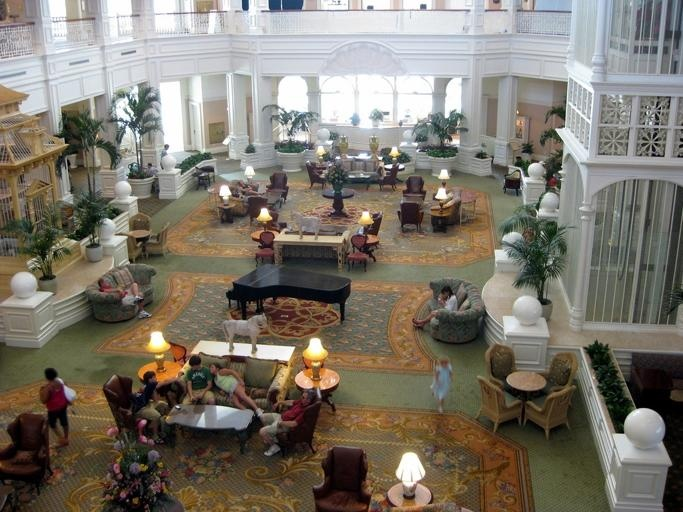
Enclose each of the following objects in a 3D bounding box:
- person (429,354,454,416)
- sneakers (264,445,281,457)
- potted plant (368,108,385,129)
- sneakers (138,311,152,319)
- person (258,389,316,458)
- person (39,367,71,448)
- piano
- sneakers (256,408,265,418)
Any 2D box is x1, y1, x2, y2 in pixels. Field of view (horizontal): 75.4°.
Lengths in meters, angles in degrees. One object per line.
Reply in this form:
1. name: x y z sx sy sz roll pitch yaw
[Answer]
1. person: 1.742 2.180 7.731 0.312 1.080 0.519 2 17 13
2. sneakers: -1.054 2.968 6.777 0.302 0.179 0.119 -8 24 -8
3. potted plant: 1.818 -7.569 24.308 1.084 1.010 0.990 -4 32 -3
4. sneakers: -4.831 1.436 10.866 0.359 0.141 0.120 0 26 0
5. person: -0.838 2.602 6.793 0.679 1.052 0.484 20 30 -16
6. person: -4.527 2.305 7.014 0.340 1.336 0.478 -14 20 -35
7. piano: -1.123 0.667 10.345 2.314 0.803 1.358 9 27 10
8. sneakers: -1.300 2.497 7.049 0.116 0.116 0.138 0 13 -3
